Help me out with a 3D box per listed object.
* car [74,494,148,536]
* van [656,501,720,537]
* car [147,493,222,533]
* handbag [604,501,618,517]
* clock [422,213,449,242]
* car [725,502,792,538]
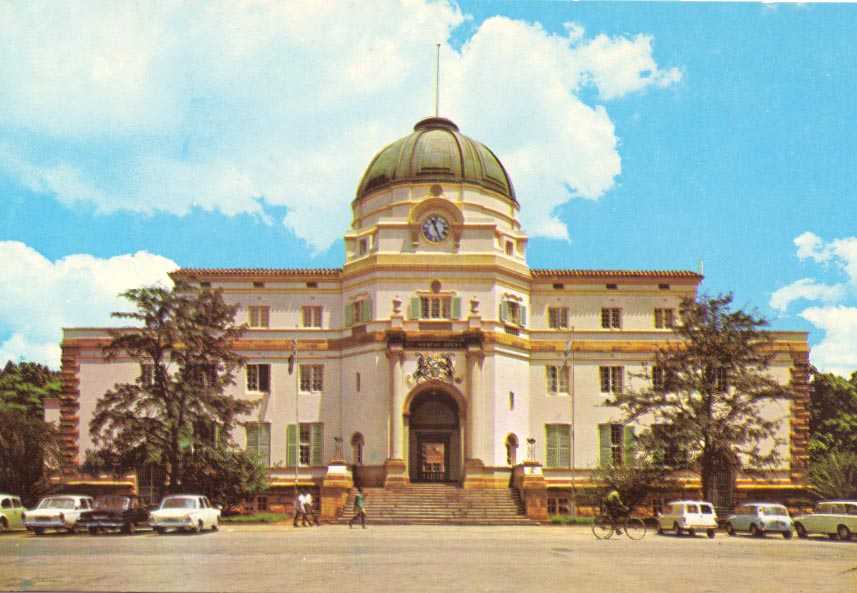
[{"bbox_3d":[-17.570,12.030,85.846,2.307,2.289,3.568,-10,-18,31],"label":"car"},{"bbox_3d":[14.934,12.745,89.008,1.803,1.454,3.264,1,-4,-7],"label":"van"},{"bbox_3d":[-13.621,12.083,85.966,2.176,2.285,3.796,-8,-17,25],"label":"car"},{"bbox_3d":[10.251,11.790,85.991,0.848,1.104,0.746,4,-14,-11],"label":"handbag"},{"bbox_3d":[0.415,-4.480,101.780,1.862,1.871,0.162,1,-2,-1],"label":"clock"},{"bbox_3d":[19.273,12.979,89.328,3.790,2.272,1.534,-12,-19,37],"label":"car"}]
